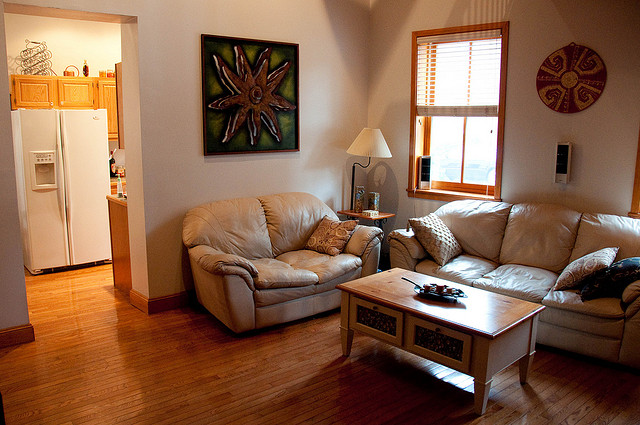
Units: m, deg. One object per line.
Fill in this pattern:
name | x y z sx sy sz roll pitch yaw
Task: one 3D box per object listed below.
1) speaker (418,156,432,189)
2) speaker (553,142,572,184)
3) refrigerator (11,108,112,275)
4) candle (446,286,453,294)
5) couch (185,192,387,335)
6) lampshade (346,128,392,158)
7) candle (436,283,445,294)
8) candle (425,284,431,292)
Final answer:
speaker | 1.504 -0.546 6.090 0.203 0.425 0.214 2 -1 30
speaker | 2.796 -0.569 5.114 0.212 0.473 0.062 3 2 -11
refrigerator | -3.775 -0.152 6.510 1.255 2.562 1.090 -7 10 -41
candle | 1.172 0.702 3.980 0.074 0.061 0.040 1 3 5
couch | -0.411 0.496 5.244 2.297 1.190 1.327 -5 15 -35
lampshade | 0.682 -0.943 5.947 0.685 0.376 0.706 6 8 11
candle | 1.094 0.695 4.047 0.076 0.080 0.074 -1 4 -41
candle | 0.979 0.685 4.008 0.051 0.055 0.052 -3 -8 38
